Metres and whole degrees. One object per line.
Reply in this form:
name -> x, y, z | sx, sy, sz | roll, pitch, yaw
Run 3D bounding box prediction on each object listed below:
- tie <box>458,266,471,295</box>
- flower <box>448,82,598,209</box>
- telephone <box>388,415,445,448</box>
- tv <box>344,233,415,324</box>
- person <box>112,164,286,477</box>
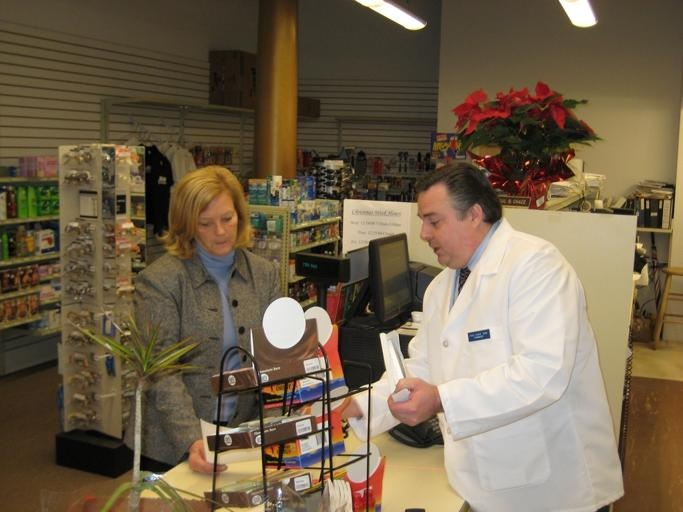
tie -> 0.522, 0.109, 2.175 | 0.024, 0.102, 0.071 | 4, 9, -44
flower -> 1.078, -0.661, 3.141 | 0.800, 0.699, 0.817 | 3, 5, 24
telephone -> 0.340, 0.776, 2.235 | 0.152, 0.052, 0.111 | -5, 6, -22
tv -> 0.222, 0.153, 2.934 | 0.279, 0.516, 0.530 | 0, 3, 22
person -> -0.576, 0.269, 2.244 | 0.611, 1.319, 0.707 | 5, 9, 33
